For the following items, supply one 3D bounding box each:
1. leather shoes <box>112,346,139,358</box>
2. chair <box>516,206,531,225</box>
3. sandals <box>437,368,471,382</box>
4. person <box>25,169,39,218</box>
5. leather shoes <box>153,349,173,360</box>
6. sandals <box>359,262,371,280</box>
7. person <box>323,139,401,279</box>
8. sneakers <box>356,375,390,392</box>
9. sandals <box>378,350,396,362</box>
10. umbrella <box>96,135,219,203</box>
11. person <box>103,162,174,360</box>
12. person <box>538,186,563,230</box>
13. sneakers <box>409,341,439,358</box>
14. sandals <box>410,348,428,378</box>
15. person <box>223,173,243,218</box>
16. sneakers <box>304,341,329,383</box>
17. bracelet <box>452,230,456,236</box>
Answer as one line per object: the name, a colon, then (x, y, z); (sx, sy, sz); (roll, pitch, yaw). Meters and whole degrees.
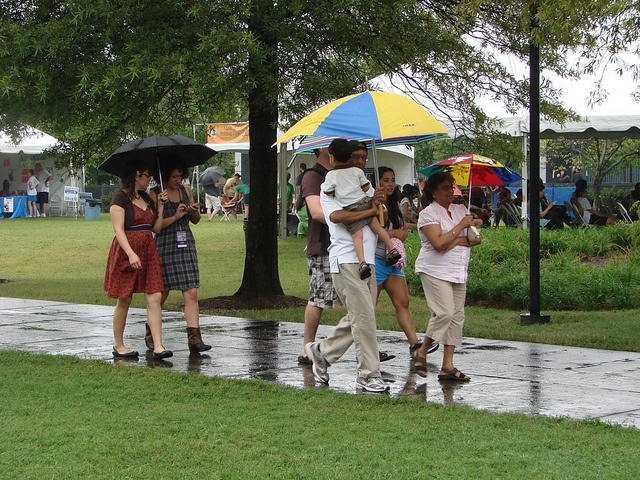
leather shoes: (-2.125, 1.220, 8.749); (0.307, 0.124, 0.105); (-2, -4, 12)
chair: (5.953, -0.679, 23.447); (0.116, 0.808, 0.213); (-17, 7, -35)
sandals: (1.288, 1.294, 7.735); (0.237, 0.097, 0.133); (-4, -1, 14)
person: (-12.437, -2.020, 35.037); (0.486, 2.029, 1.078); (-1, 5, -20)
leather shoes: (-1.673, 1.232, 8.604); (0.238, 0.093, 0.081); (-13, -15, 37)
sandals: (0.406, 0.281, 7.105); (0.113, 0.155, 0.113); (4, 6, 37)
person: (0.372, -0.292, 7.397); (0.589, 1.253, 0.590); (4, 6, 38)
sneakers: (0.490, 1.304, 7.292); (0.293, 0.141, 0.124); (-3, -6, 30)
sandals: (0.731, 1.245, 8.650); (0.113, 0.074, 0.189); (-1, -4, 20)
umbrella: (-1.793, -0.929, 9.202); (0.837, 0.514, 0.839); (-5, -15, -16)
person: (-1.926, 0.231, 8.556); (0.695, 2.098, 0.521); (-2, 5, -22)
person: (6.098, -0.867, 21.081); (0.542, 1.170, 3.050); (2, 5, 15)
sneakers: (1.160, 1.157, 8.617); (0.396, 0.187, 0.146); (-10, 1, 9)
sandals: (0.998, 1.210, 8.047); (0.102, 0.089, 0.336); (-5, 22, -5)
person: (-3.687, -1.754, 34.277); (0.793, 2.173, 0.748); (13, -19, -20)
sneakers: (-0.002, 1.181, 7.693); (0.188, 0.414, 0.145); (-25, -8, 10)
bracelet: (1.298, -0.061, 7.710); (0.030, 0.042, 0.015); (1, 5, 8)
